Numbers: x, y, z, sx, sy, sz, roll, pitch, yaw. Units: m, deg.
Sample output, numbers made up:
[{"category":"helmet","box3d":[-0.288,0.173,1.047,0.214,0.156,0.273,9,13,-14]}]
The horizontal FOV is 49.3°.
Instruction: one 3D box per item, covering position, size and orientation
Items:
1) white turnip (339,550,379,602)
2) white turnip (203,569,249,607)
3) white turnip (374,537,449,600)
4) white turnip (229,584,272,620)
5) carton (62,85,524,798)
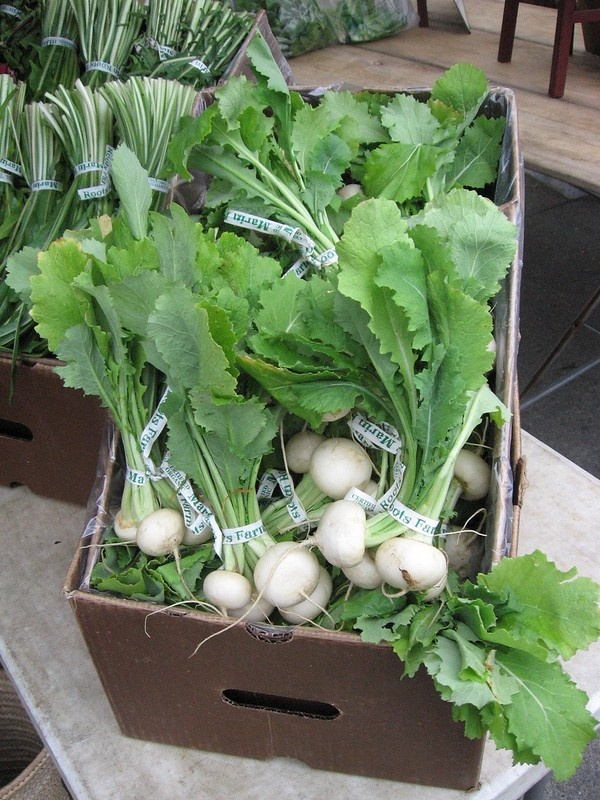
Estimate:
[{"category":"white turnip","box3d":[0.071,0.192,0.716,0.040,0.049,0.045,-5,19,-10]},{"category":"white turnip","box3d":[-0.078,0.203,0.717,0.047,0.035,0.035,11,77,3]},{"category":"white turnip","box3d":[0.115,0.169,0.645,0.052,0.065,0.038,2,65,4]},{"category":"white turnip","box3d":[-0.057,0.227,0.752,0.048,0.036,0.034,0,5,-8]},{"category":"carton","box3d":[0.050,0.093,1.040,0.517,0.365,0.828,0,41,9]}]
